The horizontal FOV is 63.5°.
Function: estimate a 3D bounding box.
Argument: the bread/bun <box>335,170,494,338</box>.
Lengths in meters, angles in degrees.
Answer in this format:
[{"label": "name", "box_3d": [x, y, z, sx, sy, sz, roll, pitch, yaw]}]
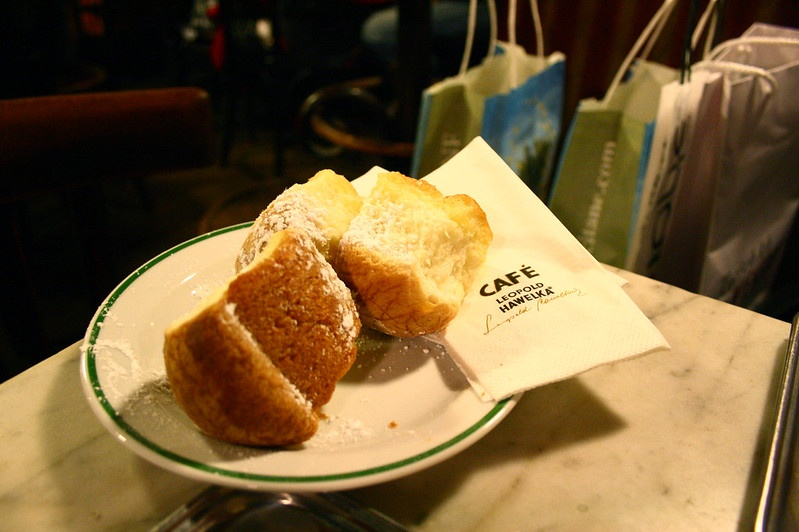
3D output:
[{"label": "bread/bun", "box_3d": [0.001, -0.067, 1.149, 0.314, 0.098, 0.287, -20, 47, -22]}]

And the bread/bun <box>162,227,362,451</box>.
[{"label": "bread/bun", "box_3d": [-0.181, 0.118, 0.931, 0.289, 0.201, 0.200, -30, 52, -25]}]
